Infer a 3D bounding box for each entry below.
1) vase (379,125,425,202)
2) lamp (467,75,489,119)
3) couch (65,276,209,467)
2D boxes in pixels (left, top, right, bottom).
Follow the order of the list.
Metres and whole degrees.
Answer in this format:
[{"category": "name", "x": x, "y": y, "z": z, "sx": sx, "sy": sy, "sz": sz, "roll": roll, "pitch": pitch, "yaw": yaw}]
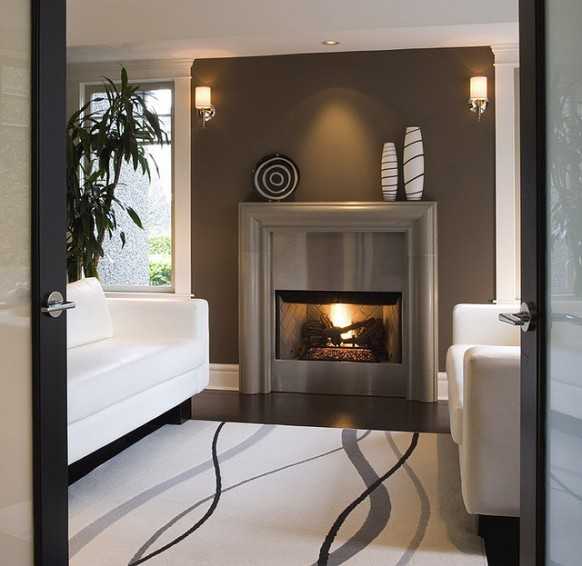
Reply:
[{"category": "vase", "x": 0.829, "y": -0.884, "z": 3.915, "sx": 0.325, "sy": 0.575, "sz": 0.210, "roll": 0, "pitch": 2, "yaw": 12}, {"category": "lamp", "x": 1.356, "y": -1.340, "z": 3.846, "sx": 0.115, "sy": 0.272, "sz": 0.139, "roll": 0, "pitch": 2, "yaw": 12}, {"category": "couch", "x": -0.965, "y": 0.424, "z": 2.829, "sx": 0.587, "sy": 0.685, "sz": 1.251, "roll": 2, "pitch": 4, "yaw": 12}]
